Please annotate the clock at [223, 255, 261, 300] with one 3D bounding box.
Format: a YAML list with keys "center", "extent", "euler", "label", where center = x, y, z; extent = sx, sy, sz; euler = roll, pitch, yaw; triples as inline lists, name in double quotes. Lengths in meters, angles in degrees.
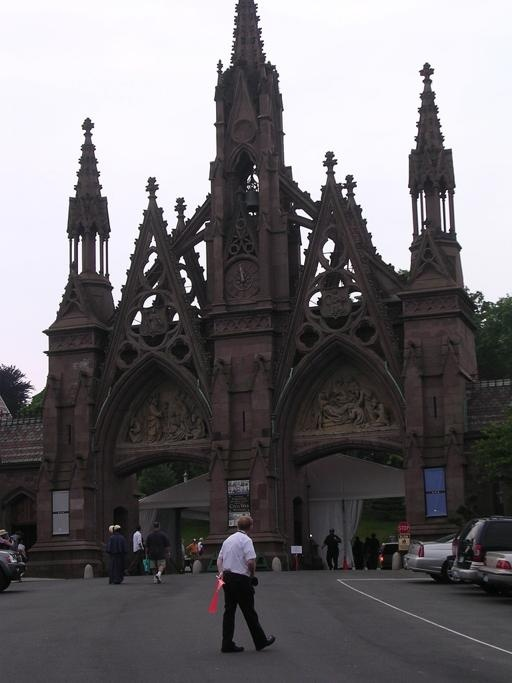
- center: [-0.471, -2.378, 43.068]
  extent: [1.499, 1.891, 0.269]
  euler: [-5, -18, 16]
  label: "clock"

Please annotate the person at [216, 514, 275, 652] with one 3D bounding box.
- center: [-0.130, 2.782, 13.012]
  extent: [0.580, 1.558, 0.672]
  euler: [-1, -13, -3]
  label: "person"

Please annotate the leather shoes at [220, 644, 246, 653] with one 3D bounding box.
- center: [-0.259, 3.488, 12.817]
  extent: [0.249, 0.108, 0.295]
  euler: [-2, -14, -1]
  label: "leather shoes"

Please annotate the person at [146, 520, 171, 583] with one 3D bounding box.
- center: [-2.560, 5.515, 29.422]
  extent: [0.576, 1.578, 0.501]
  euler: [-1, -2, 31]
  label: "person"
